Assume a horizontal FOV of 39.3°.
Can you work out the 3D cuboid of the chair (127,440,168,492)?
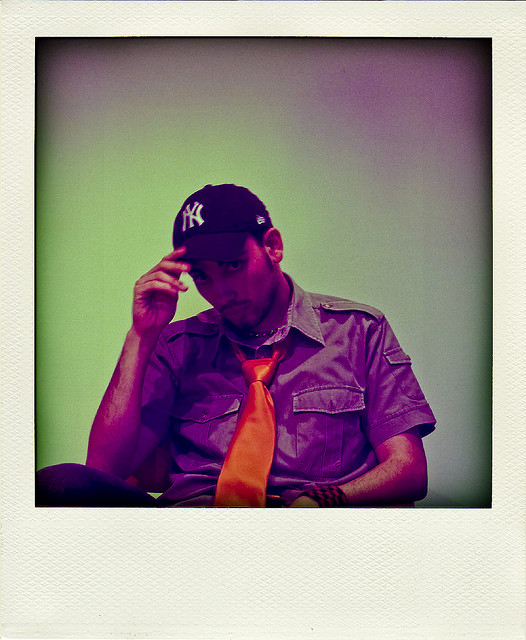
[{"bbox_3d":[-0.384,0.443,2.259,0.196,0.147,0.158,2,-4,-11],"label":"chair"}]

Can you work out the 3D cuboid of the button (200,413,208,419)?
[{"bbox_3d":[-0.177,0.285,2.210,0.014,0.016,0.027,-3,-8,-3],"label":"button"}]

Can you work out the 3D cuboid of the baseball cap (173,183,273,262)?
[{"bbox_3d":[-0.120,-0.331,2.251,0.199,0.167,0.279,-9,16,23],"label":"baseball cap"}]

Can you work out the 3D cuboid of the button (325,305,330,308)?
[{"bbox_3d":[0.194,-0.042,2.227,0.013,0.008,0.003,3,-2,4],"label":"button"}]
